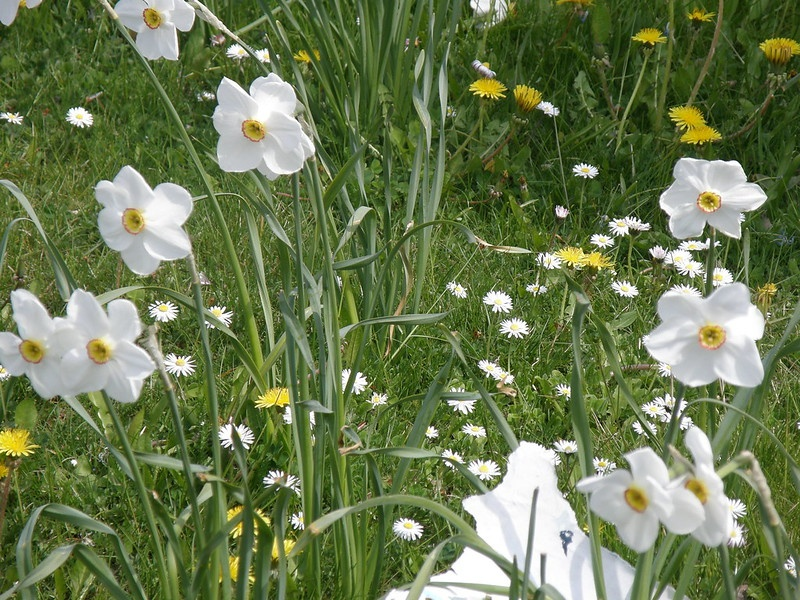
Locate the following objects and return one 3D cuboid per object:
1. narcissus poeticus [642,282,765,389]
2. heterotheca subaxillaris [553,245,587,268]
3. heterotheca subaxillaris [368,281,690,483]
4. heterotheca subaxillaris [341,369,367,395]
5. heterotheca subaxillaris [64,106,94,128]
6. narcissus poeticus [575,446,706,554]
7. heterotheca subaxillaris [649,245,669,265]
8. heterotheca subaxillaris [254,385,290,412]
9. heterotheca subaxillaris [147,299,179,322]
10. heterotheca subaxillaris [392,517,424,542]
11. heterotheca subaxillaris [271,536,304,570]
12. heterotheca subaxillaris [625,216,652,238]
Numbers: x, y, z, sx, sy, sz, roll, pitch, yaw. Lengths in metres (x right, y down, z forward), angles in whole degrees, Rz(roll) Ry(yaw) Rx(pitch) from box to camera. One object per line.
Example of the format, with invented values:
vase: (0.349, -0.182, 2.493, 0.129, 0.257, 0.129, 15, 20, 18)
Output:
narcissus poeticus: (0.646, 0.073, 2.120, 0.238, 0.169, 0.126, 2, 41, 3)
heterotheca subaxillaris: (0.626, -0.133, 3.612, 0.082, 0.048, 0.088, -11, 46, -34)
heterotheca subaxillaris: (0.347, 0.087, 2.612, 0.618, 0.559, 0.579, 14, 28, 39)
heterotheca subaxillaris: (-0.143, 0.262, 3.192, 0.080, 0.036, 0.089, 32, 27, -36)
heterotheca subaxillaris: (-1.354, -0.744, 4.212, 0.091, 0.022, 0.111, 22, 40, -24)
narcissus poeticus: (0.489, 0.403, 2.026, 0.229, 0.210, 0.076, 49, 26, 0)
heterotheca subaxillaris: (0.948, -0.169, 3.669, 0.067, 0.069, 0.083, 0, -8, 32)
heterotheca subaxillaris: (-0.382, 0.296, 2.993, 0.070, 0.052, 0.069, -2, 2, -45)
heterotheca subaxillaris: (-0.800, 0.039, 3.432, 0.072, 0.026, 0.086, 22, 29, -17)
heterotheca subaxillaris: (0.028, 0.660, 2.879, 0.056, 0.017, 0.067, 14, 37, 3)
heterotheca subaxillaris: (-0.286, 0.656, 2.652, 0.077, 0.104, 0.123, 0, 79, 9)
heterotheca subaxillaris: (0.937, -0.286, 3.946, 0.075, 0.082, 0.048, 10, 66, 45)
